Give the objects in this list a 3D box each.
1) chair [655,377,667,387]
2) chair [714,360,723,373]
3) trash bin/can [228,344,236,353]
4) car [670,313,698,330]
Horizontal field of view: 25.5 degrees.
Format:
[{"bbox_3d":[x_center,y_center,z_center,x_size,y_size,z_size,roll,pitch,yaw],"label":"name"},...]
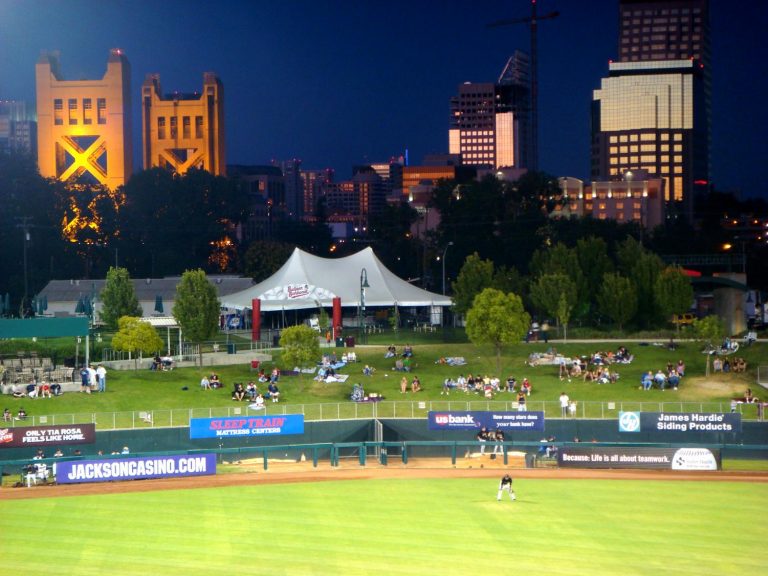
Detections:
[{"bbox_3d":[24.856,8.739,155.257,1.011,0.808,1.365,-2,-11,7],"label":"chair"},{"bbox_3d":[30.754,7.313,158.641,0.779,1.077,1.054,-1,-5,13],"label":"chair"},{"bbox_3d":[-15.071,5.948,164.141,0.739,0.817,0.744,-1,-1,6],"label":"trash bin/can"},{"bbox_3d":[31.032,3.535,179.323,1.796,1.633,3.359,-1,-4,10],"label":"car"}]
